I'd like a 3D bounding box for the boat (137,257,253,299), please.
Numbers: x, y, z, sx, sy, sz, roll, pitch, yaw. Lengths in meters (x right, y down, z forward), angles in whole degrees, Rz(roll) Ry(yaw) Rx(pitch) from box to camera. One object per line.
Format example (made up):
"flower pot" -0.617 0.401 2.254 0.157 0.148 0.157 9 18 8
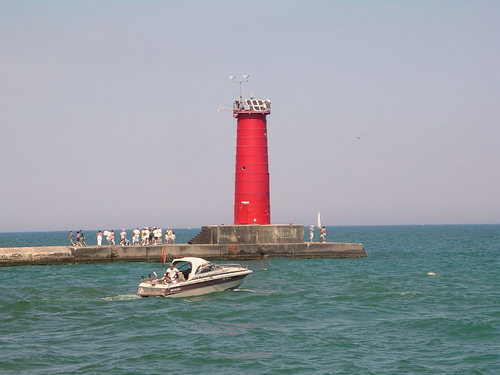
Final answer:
"boat" -3.644 5.132 49.734 6.133 2.285 5.018 -8 2 38
